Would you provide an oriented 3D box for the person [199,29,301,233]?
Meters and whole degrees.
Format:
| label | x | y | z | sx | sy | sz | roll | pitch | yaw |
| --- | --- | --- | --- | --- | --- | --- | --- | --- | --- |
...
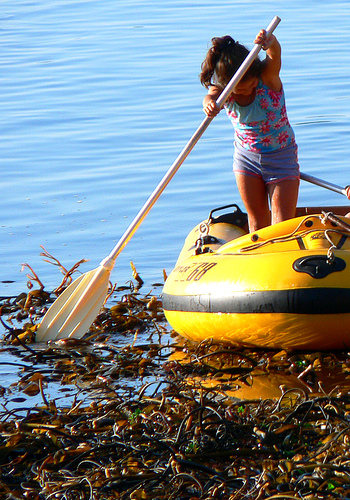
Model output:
| label | x | y | z | sx | sy | sz | roll | pitch | yaw |
| --- | --- | --- | --- | --- | --- | --- | --- | --- | --- |
| person | 0.364 | -0.555 | 3.422 | 0.510 | 0.975 | 0.434 | 3 | 13 | 7 |

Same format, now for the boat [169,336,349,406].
| label | x | y | z | sx | sy | sz | roll | pitch | yaw |
| --- | --- | --- | --- | --- | --- | --- | --- | --- | --- |
| boat | 0.255 | 0.460 | 2.594 | 0.759 | 0.075 | 0.438 | 10 | 14 | 39 |
